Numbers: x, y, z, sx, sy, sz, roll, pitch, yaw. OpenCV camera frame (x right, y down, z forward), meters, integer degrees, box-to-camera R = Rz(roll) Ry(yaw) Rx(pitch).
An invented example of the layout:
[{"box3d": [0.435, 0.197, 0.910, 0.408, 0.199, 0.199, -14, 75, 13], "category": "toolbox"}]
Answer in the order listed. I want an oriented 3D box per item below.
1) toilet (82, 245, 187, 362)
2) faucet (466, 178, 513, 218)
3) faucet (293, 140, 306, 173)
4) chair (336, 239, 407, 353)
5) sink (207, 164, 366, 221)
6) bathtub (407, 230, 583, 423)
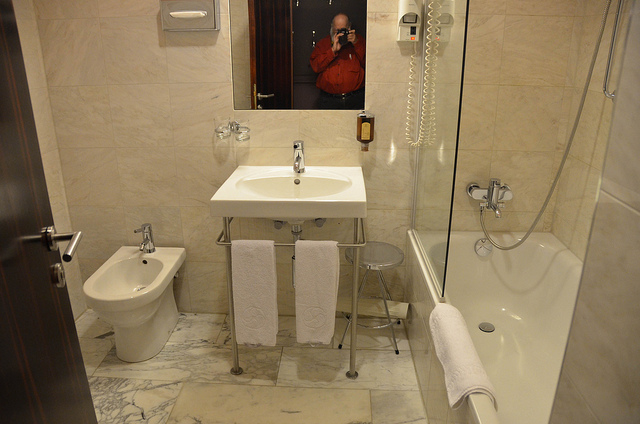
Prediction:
[{"box3d": [-1.177, 0.609, 3.058, 0.491, 0.532, 0.687, 3, 20, 7], "category": "toilet"}, {"box3d": [1.057, -0.111, 2.969, 0.269, 0.212, 0.268, 4, 22, 10], "category": "faucet"}, {"box3d": [-0.130, -0.341, 2.922, 0.066, 0.186, 0.117, -2, 22, -4], "category": "faucet"}, {"box3d": [0.355, 0.512, 3.119, 0.431, 0.636, 0.473, 3, 22, 8], "category": "chair"}, {"box3d": [-0.158, -0.036, 2.876, 0.839, 0.378, 0.610, 1, 21, 2], "category": "sink"}, {"box3d": [1.099, 0.800, 2.985, 0.797, 0.365, 1.379, -4, 36, 5], "category": "bathtub"}]
